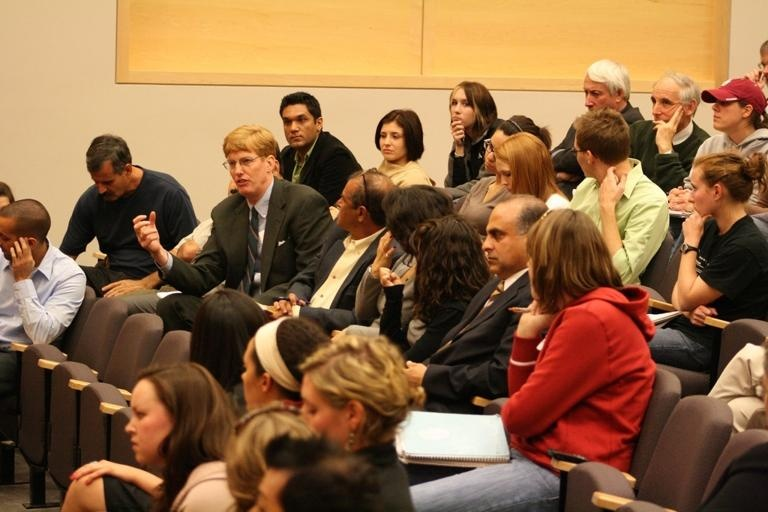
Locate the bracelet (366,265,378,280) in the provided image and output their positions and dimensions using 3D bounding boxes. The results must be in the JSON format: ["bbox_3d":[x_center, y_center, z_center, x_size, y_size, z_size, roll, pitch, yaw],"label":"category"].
[{"bbox_3d":[-0.064,0.093,3.604,0.059,0.070,0.078,17,-10,4],"label":"bracelet"}]

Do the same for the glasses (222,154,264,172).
[{"bbox_3d":[-0.990,-0.670,4.453,0.253,0.117,0.093,1,7,18],"label":"glasses"}]

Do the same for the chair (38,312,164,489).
[{"bbox_3d":[-1.594,0.794,3.811,0.631,0.890,0.491,-5,-22,-4],"label":"chair"}]

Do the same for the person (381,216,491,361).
[{"bbox_3d":[0.175,0.167,3.305,0.392,0.892,0.494,20,32,21],"label":"person"}]

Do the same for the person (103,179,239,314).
[{"bbox_3d":[-1.690,0.025,4.962,0.778,1.029,0.729,7,-7,-35],"label":"person"}]

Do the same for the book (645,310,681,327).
[{"bbox_3d":[1.348,0.298,3.064,0.172,0.055,0.172,-5,2,-25],"label":"book"}]

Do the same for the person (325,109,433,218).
[{"bbox_3d":[0.140,-0.810,5.264,0.453,0.774,0.757,-12,23,-34],"label":"person"}]

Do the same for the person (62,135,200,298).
[{"bbox_3d":[-2.195,-0.317,5.361,1.276,1.246,0.782,5,13,28],"label":"person"}]

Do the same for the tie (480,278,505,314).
[{"bbox_3d":[0.505,0.173,2.920,0.029,0.195,0.056,32,0,-13],"label":"tie"}]

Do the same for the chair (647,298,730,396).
[{"bbox_3d":[1.595,0.407,3.365,0.369,0.164,0.286,7,14,-23],"label":"chair"}]

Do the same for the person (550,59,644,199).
[{"bbox_3d":[1.557,-0.908,4.772,0.734,1.061,0.680,6,7,44],"label":"person"}]

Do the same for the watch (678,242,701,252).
[{"bbox_3d":[1.615,-0.042,3.386,0.069,0.046,0.073,9,1,4],"label":"watch"}]

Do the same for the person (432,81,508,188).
[{"bbox_3d":[0.740,-0.892,5.384,0.591,1.132,0.459,-14,32,-24],"label":"person"}]

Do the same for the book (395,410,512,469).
[{"bbox_3d":[0.261,0.699,2.401,0.382,0.095,0.397,6,12,24],"label":"book"}]

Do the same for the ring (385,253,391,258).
[{"bbox_3d":[0.024,-0.008,3.568,0.018,0.019,0.037,8,-22,-12],"label":"ring"}]
